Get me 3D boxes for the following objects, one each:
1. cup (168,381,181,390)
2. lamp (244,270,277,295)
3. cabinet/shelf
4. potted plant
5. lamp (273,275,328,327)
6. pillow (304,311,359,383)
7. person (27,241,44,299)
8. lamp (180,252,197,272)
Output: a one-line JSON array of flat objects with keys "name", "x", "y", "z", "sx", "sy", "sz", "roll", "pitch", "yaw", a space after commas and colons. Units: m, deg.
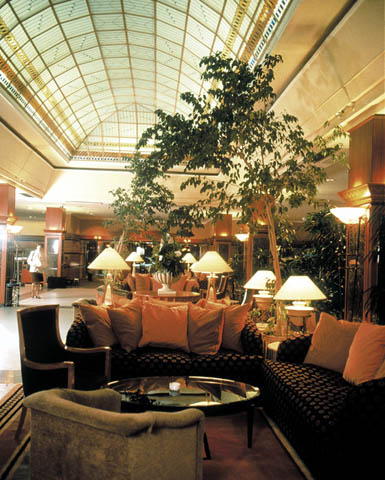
[{"name": "cup", "x": -0.109, "y": 0.952, "z": 2.303, "sx": 0.067, "sy": 0.055, "sz": 0.076, "roll": 2, "pitch": -25, "yaw": -9}, {"name": "lamp", "x": 0.895, "y": 0.538, "z": 4.643, "sx": 0.338, "sy": 0.258, "sz": 0.351, "roll": 0, "pitch": 0, "yaw": -2}, {"name": "cabinet/shelf", "x": -6.453, "y": 1.026, "z": 17.906, "sx": 1.012, "sy": 2.572, "sz": 4.997, "roll": -2, "pitch": -1, "yaw": -7}, {"name": "potted plant", "x": -0.410, "y": 0.469, "z": 6.228, "sx": 0.761, "sy": 1.014, "sz": 0.743, "roll": 1, "pitch": 1, "yaw": 13}, {"name": "lamp", "x": 1.036, "y": 0.543, "z": 3.470, "sx": 0.539, "sy": 0.560, "sz": 0.546, "roll": -4, "pitch": -6, "yaw": 41}, {"name": "pillow", "x": 1.217, "y": 0.908, "z": 2.969, "sx": 0.189, "sy": 0.454, "sz": 0.424, "roll": 22, "pitch": -5, "yaw": -33}, {"name": "person", "x": -5.347, "y": 1.068, "z": 11.942, "sx": 0.475, "sy": 1.768, "sz": 1.288, "roll": -1, "pitch": -1, "yaw": -24}, {"name": "lamp", "x": -0.095, "y": 0.596, "z": 9.925, "sx": 0.485, "sy": 0.590, "sz": 0.497, "roll": -1, "pitch": 2, "yaw": -30}]
